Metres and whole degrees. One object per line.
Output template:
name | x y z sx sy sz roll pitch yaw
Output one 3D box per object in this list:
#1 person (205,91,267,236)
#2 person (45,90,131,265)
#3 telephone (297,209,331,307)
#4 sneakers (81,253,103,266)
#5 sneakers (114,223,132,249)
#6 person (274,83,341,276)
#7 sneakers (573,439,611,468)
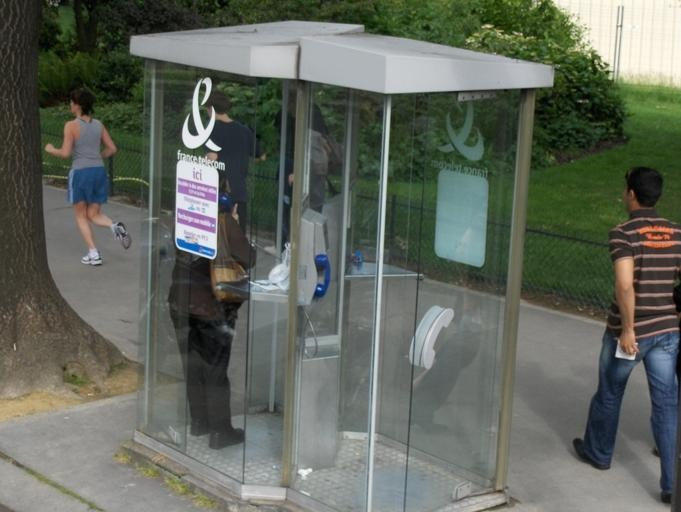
person | -0.688 -0.637 5.960 0.397 0.880 0.103 11 16 37
person | -3.044 -0.908 10.670 0.801 2.171 0.878 -9 16 -37
telephone | -0.154 0.018 6.001 0.184 0.606 0.241 10 17 17
sneakers | -3.079 0.028 11.061 0.264 0.151 0.114 12 19 29
sneakers | -2.734 -0.238 11.129 0.132 0.344 0.123 -1 23 47
person | -0.214 -0.562 5.849 0.414 1.082 0.121 6 14 23
sneakers | 1.989 1.558 7.080 0.103 0.141 0.315 -7 29 -25
